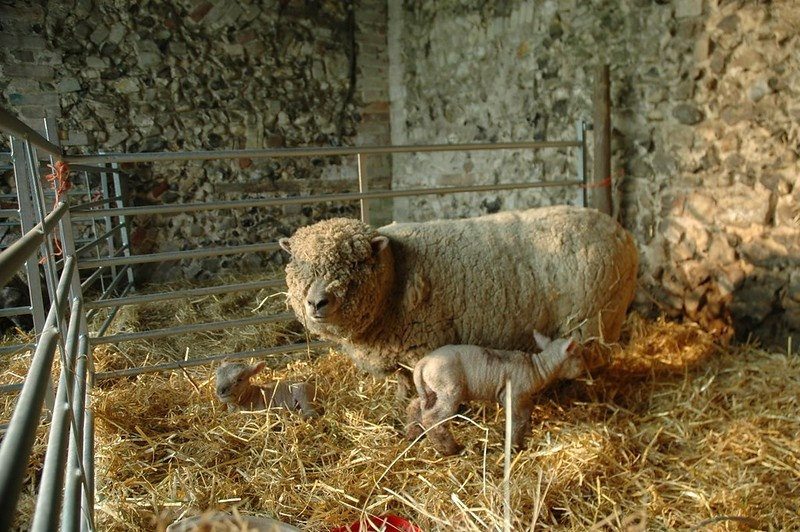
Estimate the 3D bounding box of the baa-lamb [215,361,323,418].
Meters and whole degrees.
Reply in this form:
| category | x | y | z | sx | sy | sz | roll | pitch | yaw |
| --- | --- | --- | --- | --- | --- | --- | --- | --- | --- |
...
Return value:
| category | x | y | z | sx | sy | sz | roll | pitch | yaw |
| --- | --- | --- | --- | --- | --- | --- | --- | --- | --- |
| baa-lamb | -0.837 | 0.835 | 4.249 | 0.260 | 0.431 | 0.737 | -13 | -12 | 42 |

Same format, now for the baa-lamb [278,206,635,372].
| category | x | y | z | sx | sy | sz | roll | pitch | yaw |
| --- | --- | --- | --- | --- | --- | --- | --- | --- | --- |
| baa-lamb | 0.394 | 0.094 | 4.303 | 1.944 | 1.072 | 1.005 | -8 | -1 | 4 |
